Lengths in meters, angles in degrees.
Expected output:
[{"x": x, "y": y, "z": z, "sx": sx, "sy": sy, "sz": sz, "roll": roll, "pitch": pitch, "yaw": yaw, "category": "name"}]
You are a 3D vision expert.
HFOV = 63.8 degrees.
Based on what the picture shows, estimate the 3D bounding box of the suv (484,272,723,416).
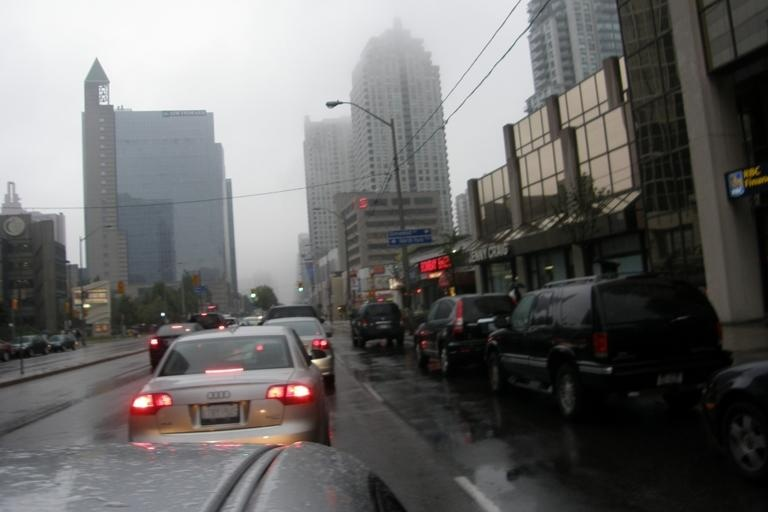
[{"x": 3.912, "y": 1.570, "z": 11.564, "sx": 2.212, "sy": 1.742, "sz": 4.072, "roll": 1, "pitch": -2, "yaw": -18, "category": "suv"}]

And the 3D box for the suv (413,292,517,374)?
[{"x": 2.004, "y": 1.937, "z": 16.931, "sx": 1.473, "sy": 1.383, "sz": 3.043, "roll": -1, "pitch": -2, "yaw": -18, "category": "suv"}]

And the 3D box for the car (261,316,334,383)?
[{"x": -1.808, "y": 2.269, "z": 15.057, "sx": 1.187, "sy": 0.954, "sz": 2.862, "roll": 0, "pitch": -1, "yaw": -2, "category": "car"}]

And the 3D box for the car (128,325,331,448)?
[{"x": -2.074, "y": 1.944, "z": 8.550, "sx": 2.519, "sy": 1.707, "sz": 1.506, "roll": -6, "pitch": -3, "yaw": -10, "category": "car"}]
